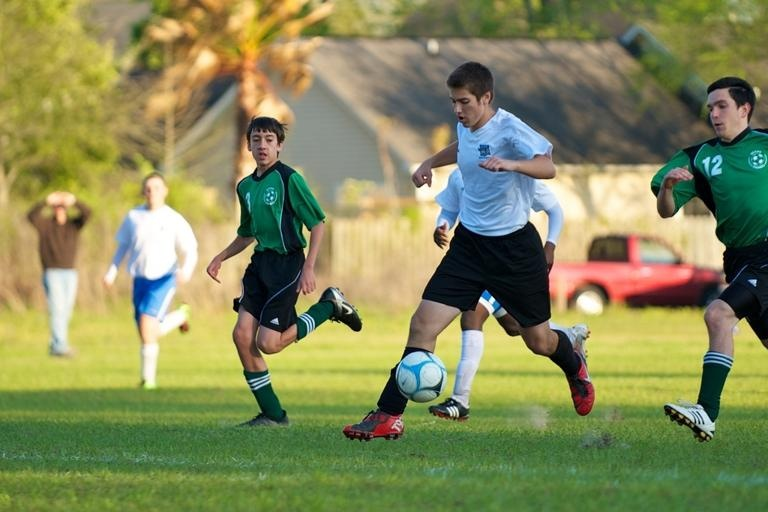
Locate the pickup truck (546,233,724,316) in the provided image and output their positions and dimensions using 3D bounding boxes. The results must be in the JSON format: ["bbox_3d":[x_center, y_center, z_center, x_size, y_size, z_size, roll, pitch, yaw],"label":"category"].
[{"bbox_3d":[5.523,0.322,30.051,4.693,1.733,1.729,0,1,-4],"label":"pickup truck"}]

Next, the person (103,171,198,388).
[{"bbox_3d":[-3.110,0.318,16.480,1.134,2.845,0.582,0,5,-12],"label":"person"}]

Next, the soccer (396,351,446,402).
[{"bbox_3d":[0.392,1.273,13.615,0.442,0.616,0.855,-1,1,3],"label":"soccer"}]

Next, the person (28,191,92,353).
[{"bbox_3d":[-5.078,0.265,19.123,0.958,2.488,0.980,0,-4,-14],"label":"person"}]
